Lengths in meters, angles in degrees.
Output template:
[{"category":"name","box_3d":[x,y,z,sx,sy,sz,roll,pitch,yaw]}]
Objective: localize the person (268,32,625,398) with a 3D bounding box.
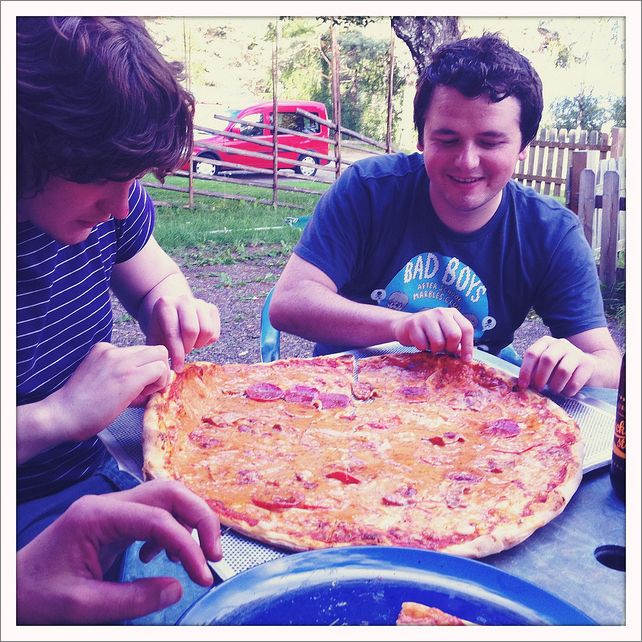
[{"category":"person","box_3d":[0.462,-0.400,2.254,1.228,1.217,0.933,6,16,28]}]
